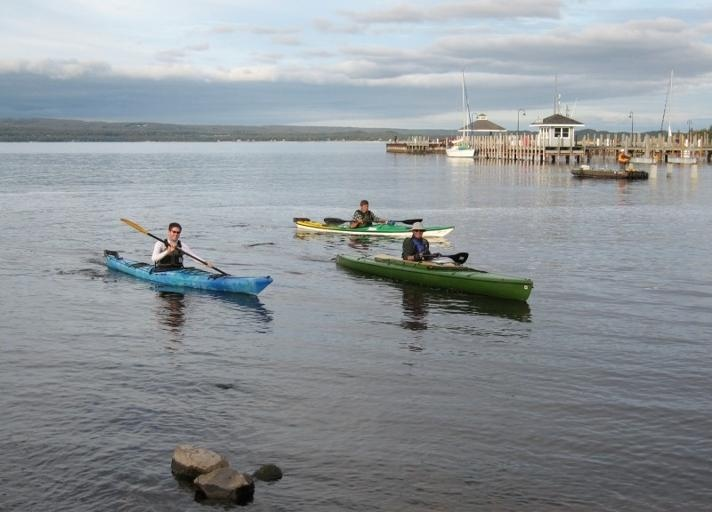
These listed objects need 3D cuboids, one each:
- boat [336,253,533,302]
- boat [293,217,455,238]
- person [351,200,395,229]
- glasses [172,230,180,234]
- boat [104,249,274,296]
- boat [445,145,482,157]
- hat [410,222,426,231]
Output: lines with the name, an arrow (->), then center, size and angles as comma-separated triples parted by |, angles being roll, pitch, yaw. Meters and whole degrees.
boat -> 2.333, 0.377, 24.671 | 8.584, 0.867, 1.688 | 6, 8, 43
boat -> 0.658, -1.276, 34.991 | 9.170, 0.616, 1.426 | 4, 6, 28
person -> 0.358, -1.904, 34.753 | 1.321, 1.199, 1.579 | -3, 10, -9
glasses -> -5.779, -0.759, 24.268 | 0.224, 0.142, 0.336 | -3, 10, -13
boat -> -5.641, 0.591, 25.268 | 7.078, 0.684, 1.047 | 6, 10, 30
boat -> 17.727, -17.124, 127.243 | 3.916, 1.968, 6.519 | -2, 9, -7
hat -> 1.994, -0.988, 24.765 | 0.509, 0.182, 0.428 | 2, -9, -14
